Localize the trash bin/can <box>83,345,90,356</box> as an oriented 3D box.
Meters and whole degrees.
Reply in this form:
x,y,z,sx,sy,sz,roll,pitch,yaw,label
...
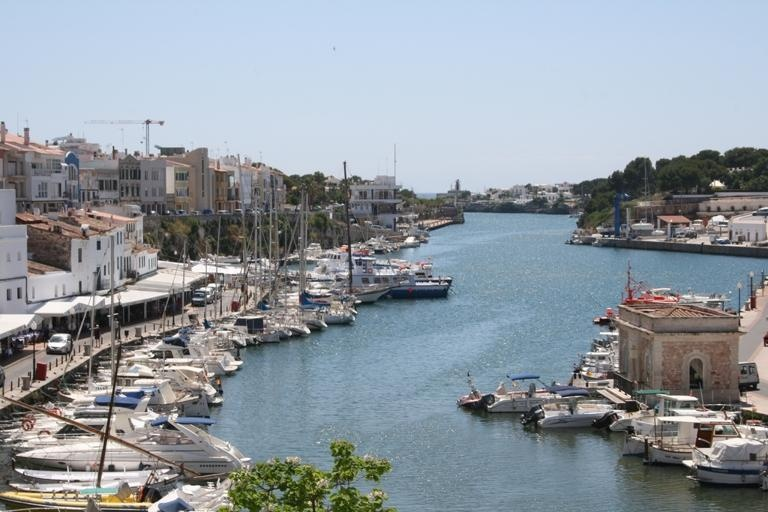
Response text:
x,y,z,sx,sy,sz,roll,pitch,yaw,label
-21.933,6.875,95.757,0.715,0.741,0.538,0,-5,-3,trash bin/can

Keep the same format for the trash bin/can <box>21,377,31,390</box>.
x,y,z,sx,sy,sz,roll,pitch,yaw,label
-24.117,8.533,87.454,0.793,0.925,0.737,1,-5,-8,trash bin/can
